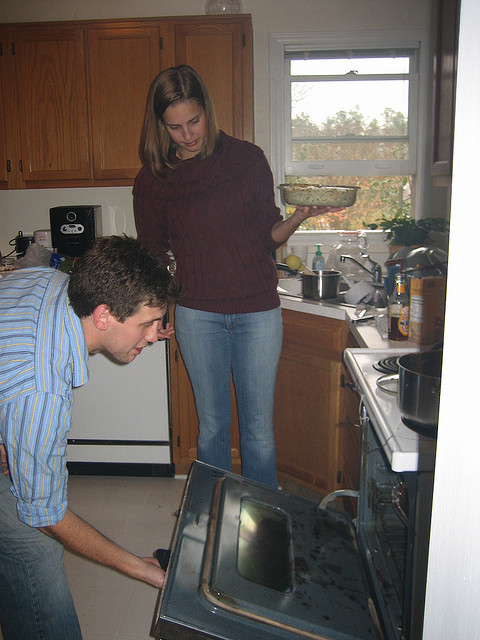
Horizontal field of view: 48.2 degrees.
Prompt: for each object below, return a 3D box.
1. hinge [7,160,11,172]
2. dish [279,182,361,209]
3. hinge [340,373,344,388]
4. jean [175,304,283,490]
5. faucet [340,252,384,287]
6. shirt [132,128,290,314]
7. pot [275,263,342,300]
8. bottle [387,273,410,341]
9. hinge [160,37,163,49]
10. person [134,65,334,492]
[{"bbox_3d":[-1.139,-0.760,2.659,0.017,0.056,0.002,-2,13,0],"label":"hinge"},{"bbox_3d":[0.260,-0.421,1.832,0.265,0.083,0.289,1,13,6],"label":"dish"},{"bbox_3d":[0.382,0.226,2.005,0.014,0.059,0.028,0,14,10],"label":"hinge"},{"bbox_3d":[-0.038,0.268,1.835,0.352,0.775,0.204,0,13,-2],"label":"jean"},{"bbox_3d":[0.558,-0.226,2.458,0.195,0.171,0.543,0,14,11],"label":"faucet"},{"bbox_3d":[-0.096,-0.298,1.718,0.448,0.570,0.217,-7,23,2],"label":"shirt"},{"bbox_3d":[0.297,-0.169,2.257,0.317,0.115,0.131,2,5,32],"label":"pot"},{"bbox_3d":[0.472,-0.042,1.595,0.057,0.176,0.151,2,14,16],"label":"bottle"},{"bbox_3d":[-0.359,-1.263,2.461,0.013,0.044,0.004,-3,13,-5],"label":"hinge"},{"bbox_3d":[-0.014,-0.006,1.696,0.643,1.447,0.524,0,20,11],"label":"person"}]
